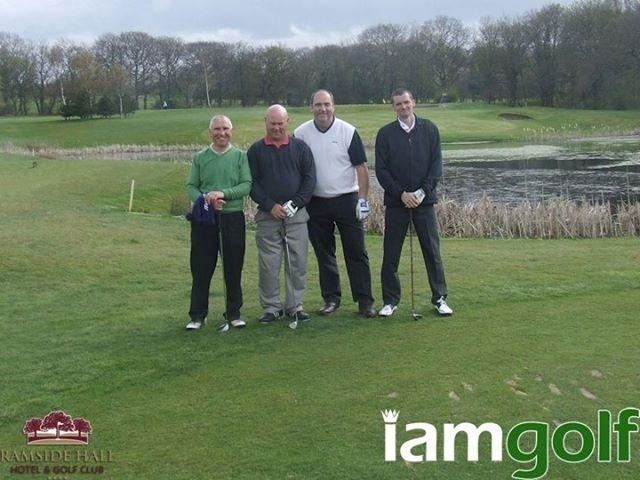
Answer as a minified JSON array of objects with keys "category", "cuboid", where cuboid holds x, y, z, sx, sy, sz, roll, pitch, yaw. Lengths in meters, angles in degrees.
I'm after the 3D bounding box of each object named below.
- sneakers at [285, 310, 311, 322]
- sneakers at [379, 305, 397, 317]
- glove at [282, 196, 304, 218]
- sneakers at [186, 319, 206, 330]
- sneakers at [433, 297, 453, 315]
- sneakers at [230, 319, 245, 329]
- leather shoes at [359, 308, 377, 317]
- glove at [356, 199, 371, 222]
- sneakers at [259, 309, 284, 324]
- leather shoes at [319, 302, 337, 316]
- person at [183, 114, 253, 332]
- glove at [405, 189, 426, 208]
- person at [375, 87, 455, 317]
[{"category":"sneakers","cuboid":[-0.259,0.850,7.393,0.235,0.100,0.369,-6,7,-31]},{"category":"sneakers","cuboid":[0.771,0.812,7.427,0.090,0.097,0.236,0,0,26]},{"category":"glove","cuboid":[-0.308,-0.360,7.248,0.150,0.077,0.205,36,26,0]},{"category":"sneakers","cuboid":[-1.377,0.937,7.167,0.073,0.092,0.207,-1,-7,9]},{"category":"sneakers","cuboid":[1.410,0.749,7.364,0.208,0.176,0.198,-1,6,10]},{"category":"sneakers","cuboid":[-0.896,0.923,7.215,0.181,0.077,0.153,3,8,40]},{"category":"leather shoes","cuboid":[0.563,0.834,7.460,0.085,0.082,0.173,0,-5,-29]},{"category":"glove","cuboid":[0.511,-0.338,7.470,0.131,0.240,0.091,-2,-4,18]},{"category":"sneakers","cuboid":[-0.545,0.873,7.416,0.102,0.117,0.266,1,0,32]},{"category":"leather shoes","cuboid":[0.111,0.795,7.556,0.092,0.092,0.209,1,0,27]},{"category":"person","cuboid":[-1.142,-0.199,7.242,0.805,2.310,0.527,-3,5,-6]},{"category":"glove","cuboid":[1.078,-0.462,7.374,0.200,0.205,0.089,-5,-6,7]},{"category":"person","cuboid":[1.085,-0.447,7.545,0.838,2.534,0.716,-2,5,5]}]
